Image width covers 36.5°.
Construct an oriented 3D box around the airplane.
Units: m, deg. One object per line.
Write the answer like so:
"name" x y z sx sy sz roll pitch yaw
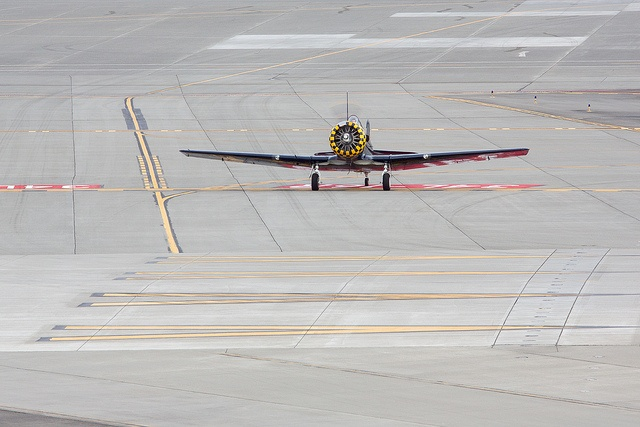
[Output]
"airplane" 2.083 -3.402 56.852 17.423 4.542 2.276 0 32 3
